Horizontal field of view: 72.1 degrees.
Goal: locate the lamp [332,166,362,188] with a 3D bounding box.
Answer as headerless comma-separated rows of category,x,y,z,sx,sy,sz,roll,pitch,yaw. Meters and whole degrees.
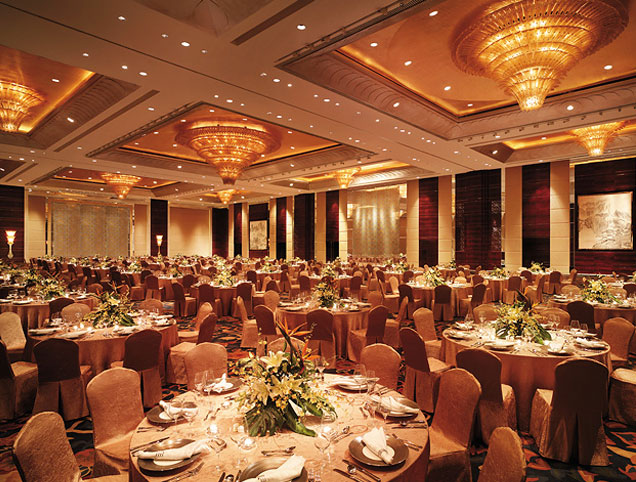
lamp,1.027,-2.303,15.534,0.883,0.400,0.831,-1,-11,-1

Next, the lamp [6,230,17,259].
lamp,-12.794,0.140,18.150,0.337,1.189,0.539,0,-3,-28

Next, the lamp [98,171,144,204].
lamp,-7.638,-2.055,16.629,1.168,0.643,1.157,-7,-6,32

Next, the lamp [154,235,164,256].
lamp,-8.602,0.248,23.677,0.360,1.082,0.551,-1,-2,4
